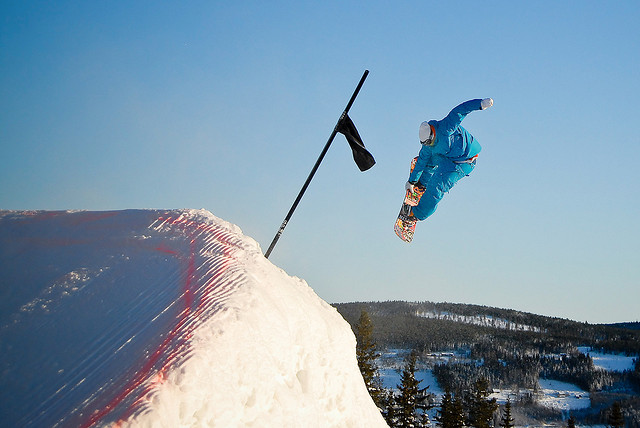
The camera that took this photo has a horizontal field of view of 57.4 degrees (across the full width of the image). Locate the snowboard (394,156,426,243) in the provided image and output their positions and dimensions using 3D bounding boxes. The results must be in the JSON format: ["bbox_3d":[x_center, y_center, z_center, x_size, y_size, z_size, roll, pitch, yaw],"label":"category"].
[{"bbox_3d":[2.723,-0.476,16.898,0.635,2.516,0.362,16,21,10],"label":"snowboard"}]
